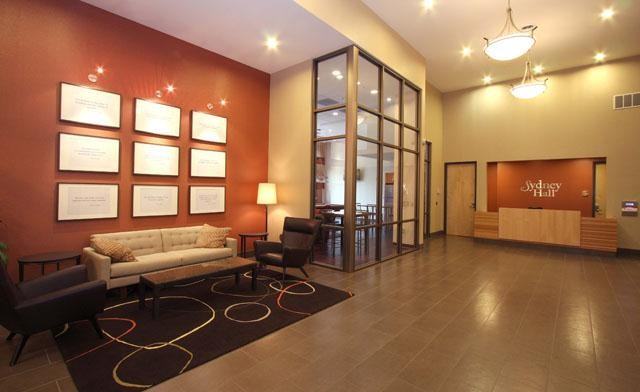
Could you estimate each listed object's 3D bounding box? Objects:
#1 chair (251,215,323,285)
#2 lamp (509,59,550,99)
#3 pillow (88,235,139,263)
[{"bbox_3d":[-0.776,1.151,8.944,1.306,1.248,1.295,4,-1,13],"label":"chair"},{"bbox_3d":[5.552,-3.203,10.442,0.861,0.905,0.873,1,5,33],"label":"lamp"},{"bbox_3d":[-4.167,1.090,7.857,0.928,0.472,0.401,1,10,1],"label":"pillow"}]
